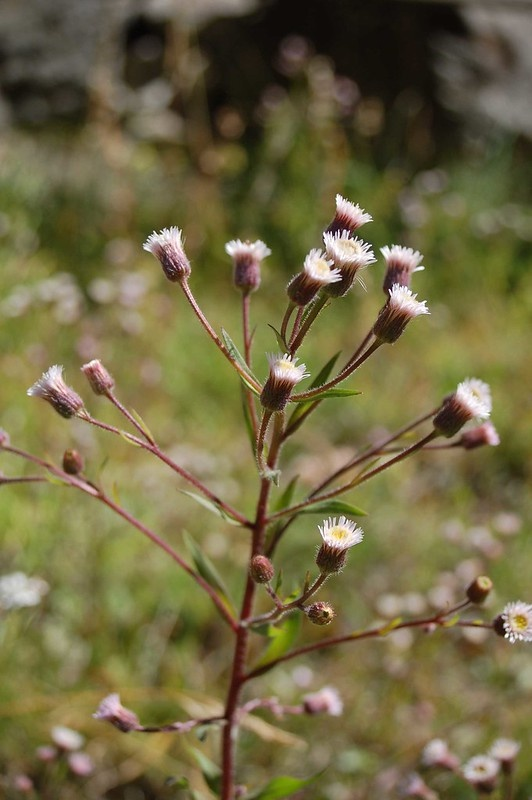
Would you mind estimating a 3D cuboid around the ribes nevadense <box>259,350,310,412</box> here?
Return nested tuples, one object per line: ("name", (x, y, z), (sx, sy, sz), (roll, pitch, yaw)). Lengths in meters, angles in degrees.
("ribes nevadense", (0.036, -0.038, 1.840), (0.099, 0.153, 0.127), (2, -25, 0))

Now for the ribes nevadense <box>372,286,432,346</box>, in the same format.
("ribes nevadense", (0.299, -0.181, 1.907), (0.132, 0.120, 0.121), (17, -2, -26))

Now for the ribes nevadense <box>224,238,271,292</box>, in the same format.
("ribes nevadense", (-0.041, -0.319, 2.012), (0.116, 0.106, 0.107), (-2, 1, -15))

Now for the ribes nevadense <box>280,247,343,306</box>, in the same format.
("ribes nevadense", (0.102, -0.276, 1.860), (0.116, 0.135, 0.093), (1, -25, 1))
